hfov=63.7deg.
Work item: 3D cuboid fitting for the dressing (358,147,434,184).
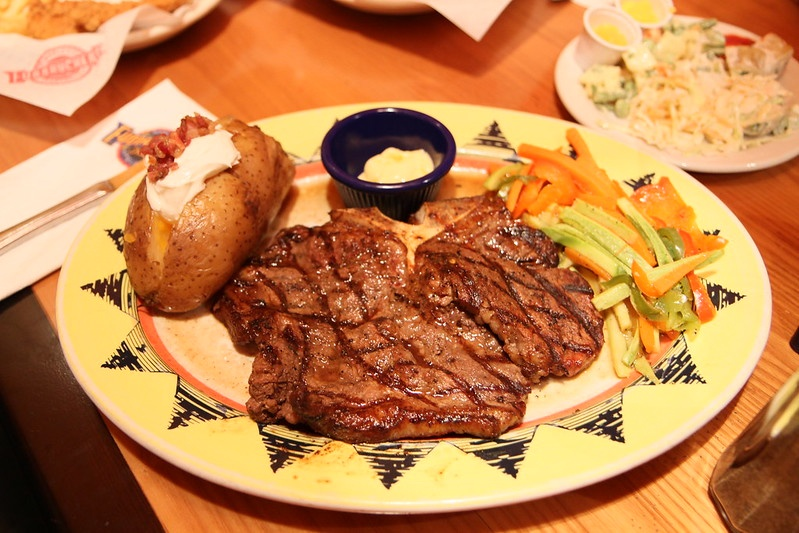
[{"bbox_3d":[0.004,-0.571,3.668,0.268,0.094,0.282,13,37,31],"label":"dressing"}]
